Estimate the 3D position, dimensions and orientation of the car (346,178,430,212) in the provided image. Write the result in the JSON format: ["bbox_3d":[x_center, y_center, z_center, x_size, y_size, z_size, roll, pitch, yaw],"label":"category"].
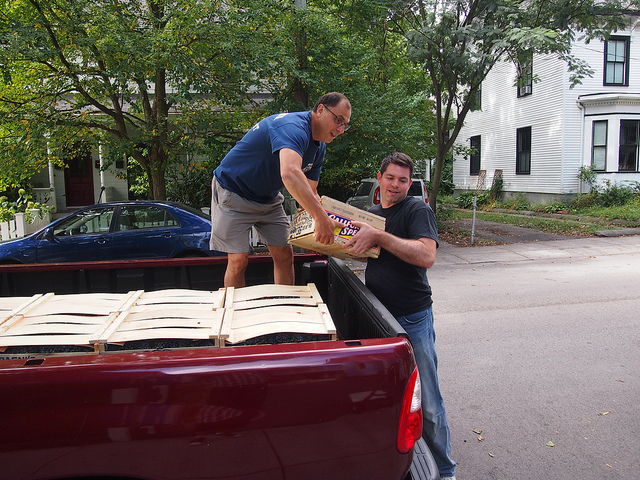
[{"bbox_3d":[1.680,-1.226,13.109,1.391,1.210,2.319,-5,17,-14],"label":"car"}]

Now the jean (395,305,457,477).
[{"bbox_3d":[0.752,1.000,3.556,0.596,0.994,0.538,6,10,6],"label":"jean"}]

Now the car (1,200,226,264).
[{"bbox_3d":[-3.026,0.025,8.688,3.900,1.303,1.670,2,-1,-6],"label":"car"}]

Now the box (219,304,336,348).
[{"bbox_3d":[-0.223,0.454,2.901,0.469,0.190,0.545,-1,6,8],"label":"box"}]

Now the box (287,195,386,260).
[{"bbox_3d":[0.067,-0.072,3.539,0.750,0.468,0.423,9,13,43],"label":"box"}]

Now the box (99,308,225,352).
[{"bbox_3d":[-0.848,0.451,2.857,0.486,0.195,0.611,-2,6,-1],"label":"box"}]
